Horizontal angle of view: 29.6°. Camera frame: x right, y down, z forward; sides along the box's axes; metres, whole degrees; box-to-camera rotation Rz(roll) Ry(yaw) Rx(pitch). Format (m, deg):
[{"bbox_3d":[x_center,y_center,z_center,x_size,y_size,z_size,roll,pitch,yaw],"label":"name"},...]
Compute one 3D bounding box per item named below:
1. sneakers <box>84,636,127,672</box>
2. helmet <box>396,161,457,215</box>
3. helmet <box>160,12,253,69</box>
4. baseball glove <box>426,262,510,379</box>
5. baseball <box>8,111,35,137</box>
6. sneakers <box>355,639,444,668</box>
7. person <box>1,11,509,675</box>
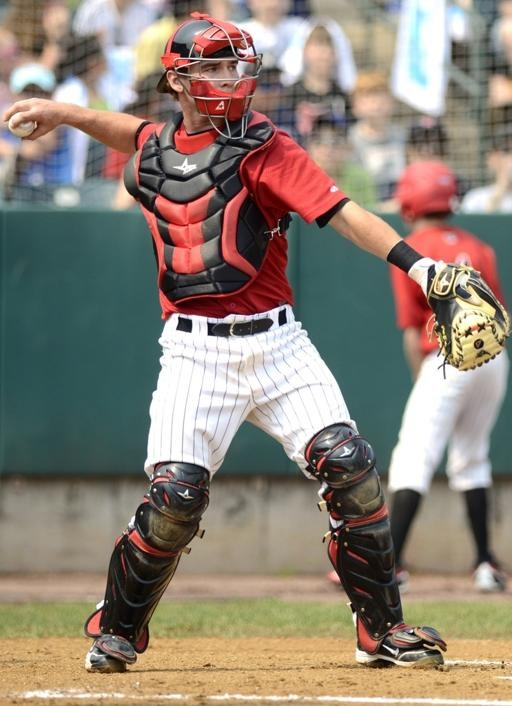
[{"bbox_3d":[-0.448,0.896,2.841,0.075,0.047,0.117,-18,38,-24],"label":"sneakers"},{"bbox_3d":[0.859,-0.844,4.987,0.262,0.230,0.327,-5,7,-1],"label":"helmet"},{"bbox_3d":[-0.162,-0.971,3.009,0.217,0.148,0.291,-20,24,-36],"label":"helmet"},{"bbox_3d":[0.599,-0.089,2.714,0.278,0.293,0.131,-12,-1,14],"label":"baseball glove"},{"bbox_3d":[-0.737,-0.722,3.050,0.068,0.042,0.066,0,2,-2],"label":"baseball"},{"bbox_3d":[0.438,0.902,2.941,0.265,0.092,0.093,-5,-7,22],"label":"sneakers"},{"bbox_3d":[-0.090,-0.014,2.869,1.464,2.021,0.724,9,13,30],"label":"person"}]
